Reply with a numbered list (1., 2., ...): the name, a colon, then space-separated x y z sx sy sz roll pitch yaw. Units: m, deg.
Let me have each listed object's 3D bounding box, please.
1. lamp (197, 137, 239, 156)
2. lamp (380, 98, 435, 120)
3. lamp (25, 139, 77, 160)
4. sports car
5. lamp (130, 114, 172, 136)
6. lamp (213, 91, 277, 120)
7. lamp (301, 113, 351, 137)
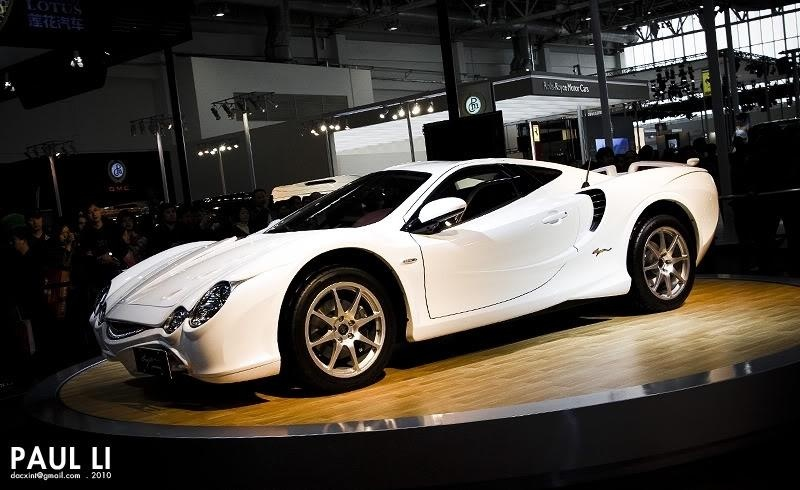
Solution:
1. lamp: -8.336 -4.485 24.681 2.600 0.725 0.634 -1 8 33
2. lamp: 0.267 -5.257 20.761 2.252 0.379 0.646 -11 -34 30
3. lamp: -15.648 -4.211 23.847 1.770 0.524 1.089 -8 -6 32
4. sports car: 0.210 0.164 5.055 5.831 1.853 0.985 -8 7 -18
5. lamp: -11.578 -5.576 25.043 1.556 0.862 2.776 -11 16 -17
6. lamp: -7.272 -6.365 24.537 1.959 0.510 1.318 -7 17 38
7. lamp: -3.142 -4.992 22.535 1.380 0.539 1.006 -19 20 -9
